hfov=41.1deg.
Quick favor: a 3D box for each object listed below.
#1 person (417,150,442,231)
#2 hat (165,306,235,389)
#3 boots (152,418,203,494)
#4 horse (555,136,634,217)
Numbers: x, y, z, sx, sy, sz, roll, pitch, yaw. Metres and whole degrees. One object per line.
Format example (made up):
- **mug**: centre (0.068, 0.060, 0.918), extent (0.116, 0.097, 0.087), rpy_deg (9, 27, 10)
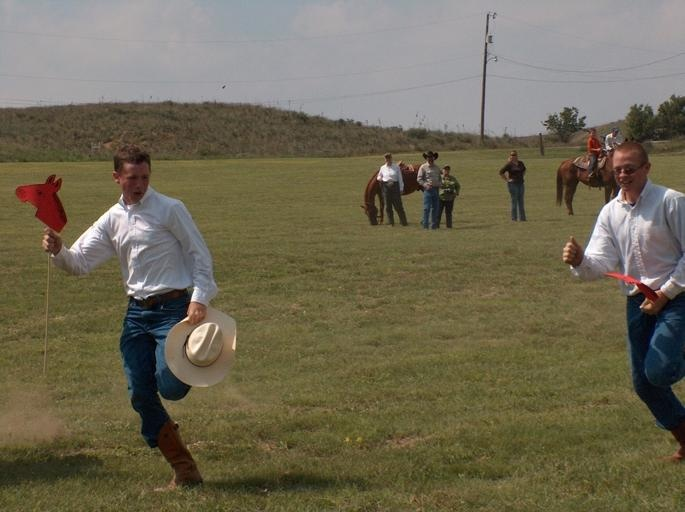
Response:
- **person**: centre (2.203, -1.689, 23.343), extent (0.570, 1.955, 0.827), rpy_deg (1, 9, 5)
- **hat**: centre (-1.436, 0.933, 9.202), extent (0.751, 0.705, 0.412), rpy_deg (-6, 11, -33)
- **boots**: centre (-1.677, 2.026, 9.236), extent (0.431, 0.661, 0.421), rpy_deg (4, 10, 21)
- **horse**: centre (7.788, -2.302, 27.952), extent (2.694, 2.029, 0.663), rpy_deg (0, 7, 39)
